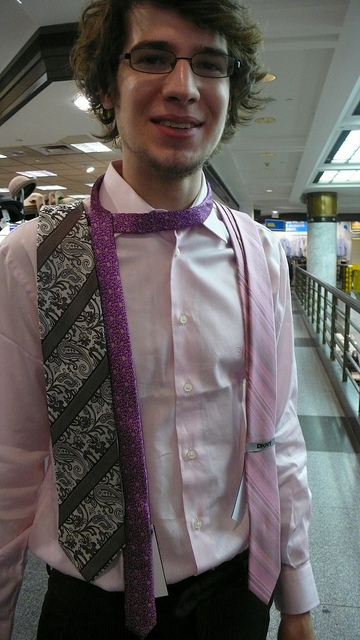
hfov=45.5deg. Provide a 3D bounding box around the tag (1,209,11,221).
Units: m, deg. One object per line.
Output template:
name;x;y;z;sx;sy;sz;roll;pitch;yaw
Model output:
tag;-2.067;-1.256;5.082;0.019;0.187;0.101;-10;3;26

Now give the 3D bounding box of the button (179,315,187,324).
button;0.005;-0.002;0.689;0.007;0.013;0.015;7;10;43

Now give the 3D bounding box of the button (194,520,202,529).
button;0.028;0.320;0.674;0.012;0.012;0.004;-41;22;-29

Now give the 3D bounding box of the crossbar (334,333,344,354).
crossbar;2.136;0.319;5.782;0.077;0.108;0.399;24;6;14

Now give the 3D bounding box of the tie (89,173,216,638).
tie;-0.062;0.108;0.702;0.190;0.643;0.280;1;8;11

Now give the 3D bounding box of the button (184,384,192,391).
button;0.013;0.105;0.668;0.015;0.011;0.005;-6;9;-33

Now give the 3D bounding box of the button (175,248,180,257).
button;-0.004;-0.114;0.719;0.005;0.014;0.015;2;8;18
